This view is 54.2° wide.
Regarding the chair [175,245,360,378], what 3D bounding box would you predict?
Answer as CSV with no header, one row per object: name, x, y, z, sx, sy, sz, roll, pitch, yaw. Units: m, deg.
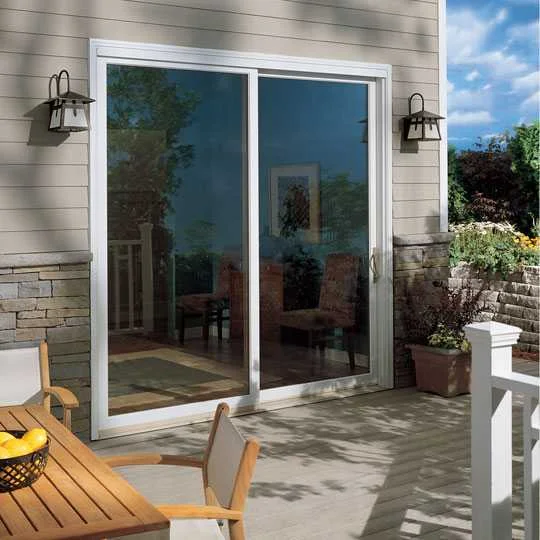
chair,-0.211,0.384,5.821,1.242,1.962,1.205,0,1,-42

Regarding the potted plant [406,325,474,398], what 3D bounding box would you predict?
potted plant,1.707,0.889,5.146,0.419,0.642,0.523,-2,3,-26

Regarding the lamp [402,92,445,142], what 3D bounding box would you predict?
lamp,1.561,-1.540,5.298,0.394,0.517,0.296,-3,3,-37

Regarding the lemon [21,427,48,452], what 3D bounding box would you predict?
lemon,-0.672,0.490,1.509,0.055,0.047,0.065,14,11,-8

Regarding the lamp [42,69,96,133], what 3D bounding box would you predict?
lamp,-1.445,-1.220,3.761,0.322,0.467,0.324,-2,2,-24
